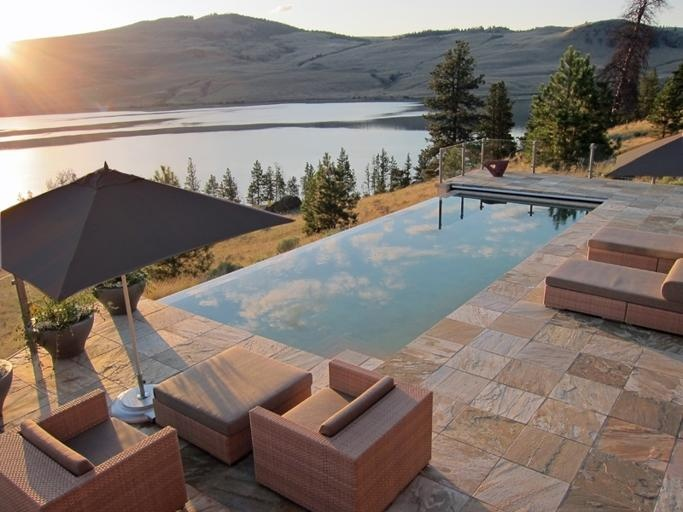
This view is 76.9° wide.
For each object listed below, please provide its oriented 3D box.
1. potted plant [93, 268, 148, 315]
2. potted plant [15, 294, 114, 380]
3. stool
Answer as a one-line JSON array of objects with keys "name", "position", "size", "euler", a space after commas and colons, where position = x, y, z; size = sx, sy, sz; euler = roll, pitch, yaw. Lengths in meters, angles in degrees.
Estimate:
[{"name": "potted plant", "position": [-3.381, 0.584, 6.746], "size": [0.645, 0.624, 0.422], "euler": [-29, 59, -6]}, {"name": "potted plant", "position": [-3.774, 1.000, 5.862], "size": [0.707, 0.679, 0.713], "euler": [-22, 5, -40]}, {"name": "stool", "position": [-1.188, 1.312, 4.125], "size": [1.025, 0.485, 1.148], "euler": [18, 27, 37]}]
